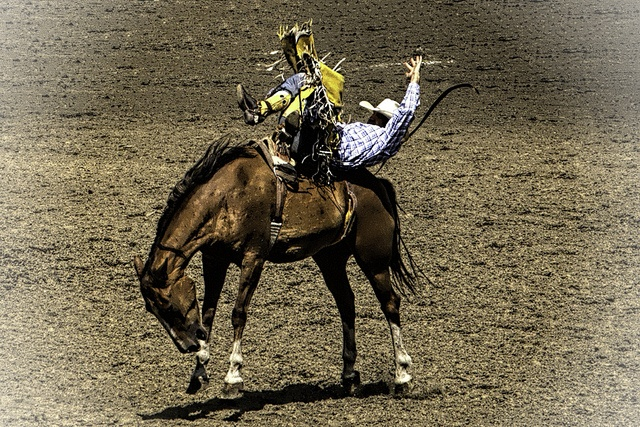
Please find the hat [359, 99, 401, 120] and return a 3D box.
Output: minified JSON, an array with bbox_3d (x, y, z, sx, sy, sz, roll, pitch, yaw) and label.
[{"bbox_3d":[0.806,-1.411,14.038,0.438,0.119,0.307,19,1,-16],"label":"hat"}]
